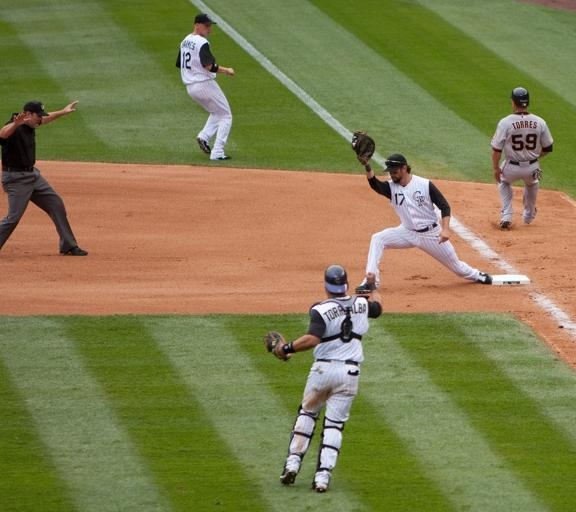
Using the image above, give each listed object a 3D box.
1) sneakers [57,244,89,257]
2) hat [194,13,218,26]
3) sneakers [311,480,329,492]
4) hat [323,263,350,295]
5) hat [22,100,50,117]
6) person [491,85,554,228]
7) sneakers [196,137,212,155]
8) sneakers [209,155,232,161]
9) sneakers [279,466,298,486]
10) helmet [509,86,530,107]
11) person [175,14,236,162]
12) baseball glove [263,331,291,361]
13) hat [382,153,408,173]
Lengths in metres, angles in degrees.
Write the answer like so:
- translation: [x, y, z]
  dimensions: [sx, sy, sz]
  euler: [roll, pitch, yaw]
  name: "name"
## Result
- translation: [-2.977, -0.074, 19.786]
  dimensions: [0.445, 0.159, 0.128]
  euler: [-1, 34, -4]
  name: "sneakers"
- translation: [-1.399, -3.777, 23.157]
  dimensions: [0.248, 0.187, 0.292]
  euler: [6, 25, 3]
  name: "hat"
- translation: [0.314, 2.414, 15.243]
  dimensions: [0.172, 0.169, 0.153]
  euler: [4, 27, -1]
  name: "sneakers"
- translation: [0.478, 0.238, 15.410]
  dimensions: [0.266, 0.165, 0.303]
  euler: [-6, 59, -2]
  name: "hat"
- translation: [-3.376, -1.948, 19.074]
  dimensions: [0.308, 0.142, 0.187]
  euler: [2, 24, -23]
  name: "hat"
- translation: [3.360, -1.426, 21.128]
  dimensions: [0.723, 2.090, 0.813]
  euler: [29, 36, 36]
  name: "person"
- translation: [-1.413, -1.788, 23.518]
  dimensions: [0.183, 0.349, 0.134]
  euler: [-29, 28, 2]
  name: "sneakers"
- translation: [-1.140, -1.615, 23.544]
  dimensions: [0.376, 0.127, 0.108]
  euler: [-4, 30, -11]
  name: "sneakers"
- translation: [-0.050, 2.312, 15.280]
  dimensions: [0.124, 0.215, 0.164]
  euler: [11, 36, -6]
  name: "sneakers"
- translation: [3.326, -2.291, 20.864]
  dimensions: [0.244, 0.293, 0.248]
  euler: [6, 27, 3]
  name: "helmet"
- translation: [-1.348, -2.684, 23.313]
  dimensions: [0.768, 2.314, 1.047]
  euler: [-5, 30, -18]
  name: "person"
- translation: [-0.131, 0.954, 15.468]
  dimensions: [0.233, 0.161, 0.362]
  euler: [-37, 59, -11]
  name: "baseball glove"
- translation: [1.360, -1.219, 18.638]
  dimensions: [0.285, 0.246, 0.321]
  euler: [2, 26, -6]
  name: "hat"
